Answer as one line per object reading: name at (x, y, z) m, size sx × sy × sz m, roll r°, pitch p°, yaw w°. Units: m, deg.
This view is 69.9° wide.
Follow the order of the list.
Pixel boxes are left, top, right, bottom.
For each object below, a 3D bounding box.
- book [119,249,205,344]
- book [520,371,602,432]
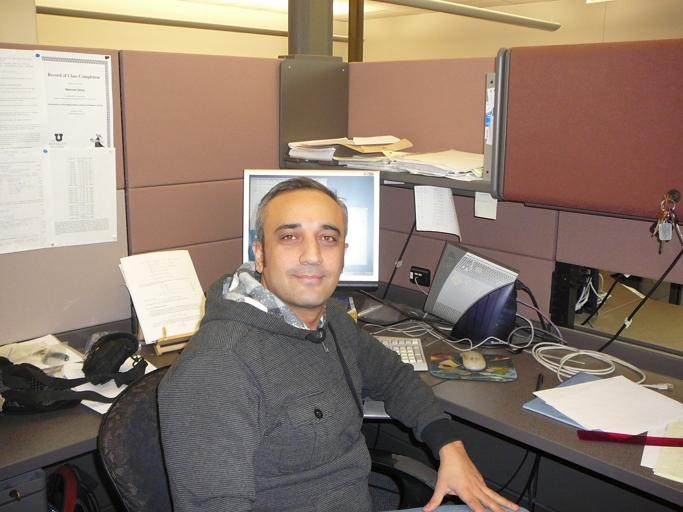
book at (-0.658, 0.142, 1.820) m, size 0.293 × 0.392 × 0.091 m, roll -13°, pitch -14°, yaw -36°
book at (0.629, 0.443, 1.459) m, size 0.193 × 0.008 × 0.115 m, roll -22°, pitch 23°, yaw -38°
